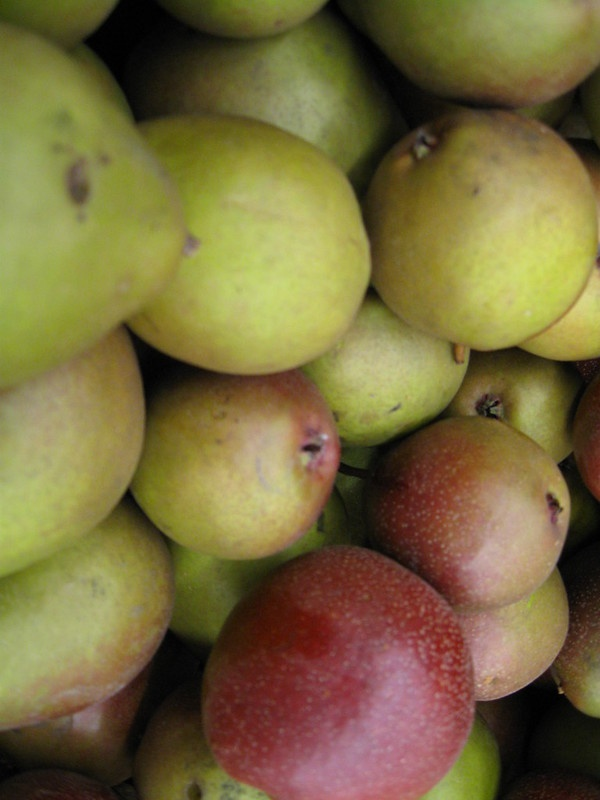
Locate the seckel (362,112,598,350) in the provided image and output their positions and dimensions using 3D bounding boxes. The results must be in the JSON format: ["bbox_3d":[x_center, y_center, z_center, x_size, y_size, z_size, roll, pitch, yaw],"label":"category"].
[{"bbox_3d":[0.111,-0.104,0.639,0.153,0.163,0.162,-16,77,-16],"label":"seckel"}]

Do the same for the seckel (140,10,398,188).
[{"bbox_3d":[-0.022,-0.220,0.643,0.148,0.120,0.116,26,30,-8],"label":"seckel"}]
